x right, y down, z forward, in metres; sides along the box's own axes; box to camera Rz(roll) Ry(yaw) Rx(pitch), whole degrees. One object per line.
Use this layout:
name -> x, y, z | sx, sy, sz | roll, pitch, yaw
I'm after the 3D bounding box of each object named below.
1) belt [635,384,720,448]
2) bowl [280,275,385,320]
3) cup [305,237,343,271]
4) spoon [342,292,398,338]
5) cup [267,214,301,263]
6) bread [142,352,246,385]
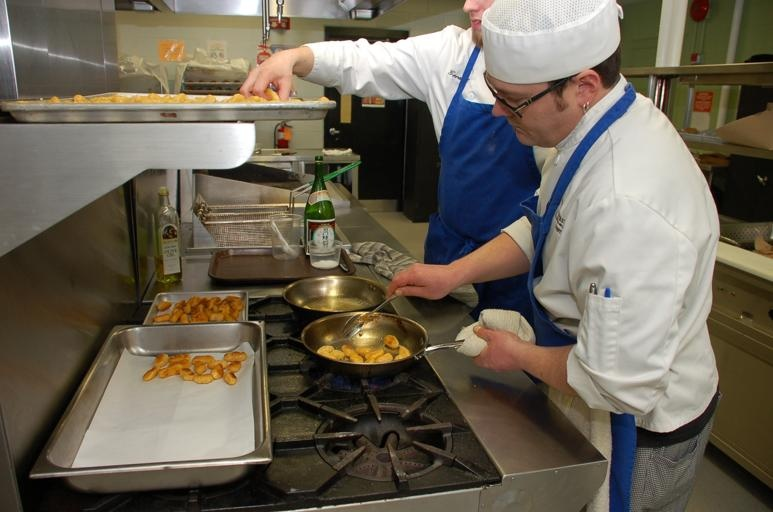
belt -> 0.718, 0.411, 1.328 | 0.143, 0.037, 0.144 | 4, 34, 42
bowl -> -0.182, 0.157, 1.935 | 0.353, 0.065, 0.351 | -13, -11, -3
cup -> -0.248, -0.012, 2.061 | 0.109, 0.075, 0.110 | 2, 13, 0
spoon -> -0.052, 0.187, 1.648 | 0.031, 0.031, 0.215 | -30, 6, 45
cup -> -0.383, -0.085, 2.145 | 0.137, 0.172, 0.170 | 0, 4, 2
bread -> -0.502, 0.296, 1.391 | 0.151, 0.025, 0.104 | 5, 10, -6
